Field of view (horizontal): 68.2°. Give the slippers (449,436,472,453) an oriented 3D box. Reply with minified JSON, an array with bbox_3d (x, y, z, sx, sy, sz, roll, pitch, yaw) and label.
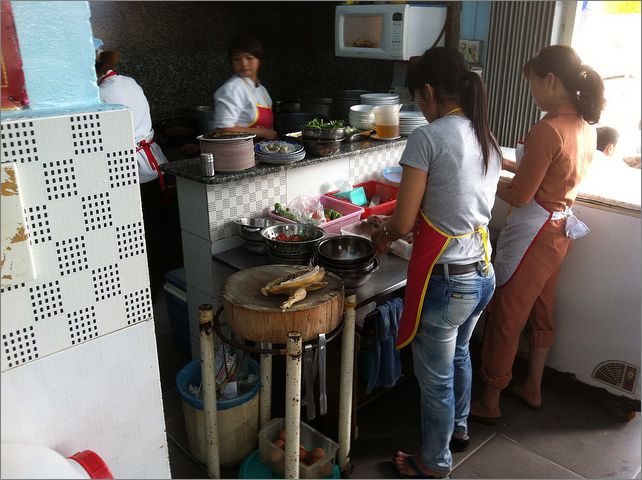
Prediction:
[{"bbox_3d":[0.774,1.130,2.649,0.052,0.065,0.151,-5,10,-24],"label":"slippers"}]

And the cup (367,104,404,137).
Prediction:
[{"bbox_3d":[0.486,-0.869,3.485,0.220,0.242,0.268,-17,21,-35],"label":"cup"}]

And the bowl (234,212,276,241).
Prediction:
[{"bbox_3d":[-0.380,-0.087,2.775,0.169,0.063,0.171,1,27,-1],"label":"bowl"}]

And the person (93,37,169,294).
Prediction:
[{"bbox_3d":[-1.565,-0.632,4.138,0.463,2.050,0.743,-9,24,-22],"label":"person"}]

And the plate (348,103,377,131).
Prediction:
[{"bbox_3d":[0.324,-0.952,3.653,0.186,0.095,0.223,1,22,5],"label":"plate"}]

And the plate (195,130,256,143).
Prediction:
[{"bbox_3d":[-0.524,-0.622,2.820,0.292,0.041,0.296,8,20,21],"label":"plate"}]

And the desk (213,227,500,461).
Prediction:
[{"bbox_3d":[0.159,0.514,2.357,1.038,0.257,0.726,19,45,22],"label":"desk"}]

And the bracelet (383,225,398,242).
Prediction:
[{"bbox_3d":[0.320,-0.026,2.170,0.054,0.070,0.056,-9,-9,39],"label":"bracelet"}]

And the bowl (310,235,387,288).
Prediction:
[{"bbox_3d":[0.135,0.090,2.443,0.286,0.146,0.280,0,31,0],"label":"bowl"}]

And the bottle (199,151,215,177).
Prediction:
[{"bbox_3d":[-0.616,-0.414,2.598,0.072,0.120,0.098,-5,22,-13],"label":"bottle"}]

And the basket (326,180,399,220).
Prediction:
[{"bbox_3d":[0.269,-0.258,3.110,0.246,0.087,0.283,-29,43,-28],"label":"basket"}]

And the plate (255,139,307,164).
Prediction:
[{"bbox_3d":[-0.246,-0.557,2.992,0.296,0.103,0.308,10,23,22],"label":"plate"}]

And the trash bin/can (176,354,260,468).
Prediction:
[{"bbox_3d":[-0.514,0.908,2.556,0.434,0.510,0.398,-11,24,-25],"label":"trash bin/can"}]

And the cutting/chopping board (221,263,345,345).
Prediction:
[{"bbox_3d":[-0.175,0.278,2.114,0.528,0.178,0.437,9,23,21],"label":"cutting/chopping board"}]
